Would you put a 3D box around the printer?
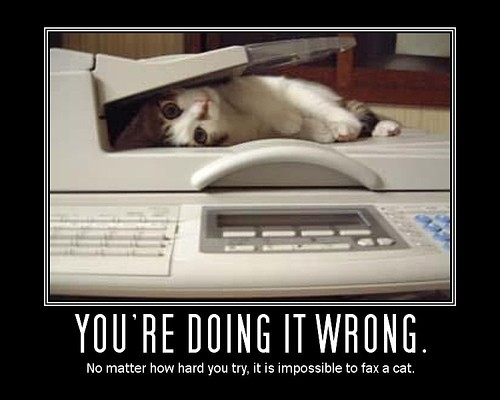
[{"bbox_3d":[-0.002,0.006,0.861,0.494,0.167,0.543,-2,14,-6],"label":"printer"}]
